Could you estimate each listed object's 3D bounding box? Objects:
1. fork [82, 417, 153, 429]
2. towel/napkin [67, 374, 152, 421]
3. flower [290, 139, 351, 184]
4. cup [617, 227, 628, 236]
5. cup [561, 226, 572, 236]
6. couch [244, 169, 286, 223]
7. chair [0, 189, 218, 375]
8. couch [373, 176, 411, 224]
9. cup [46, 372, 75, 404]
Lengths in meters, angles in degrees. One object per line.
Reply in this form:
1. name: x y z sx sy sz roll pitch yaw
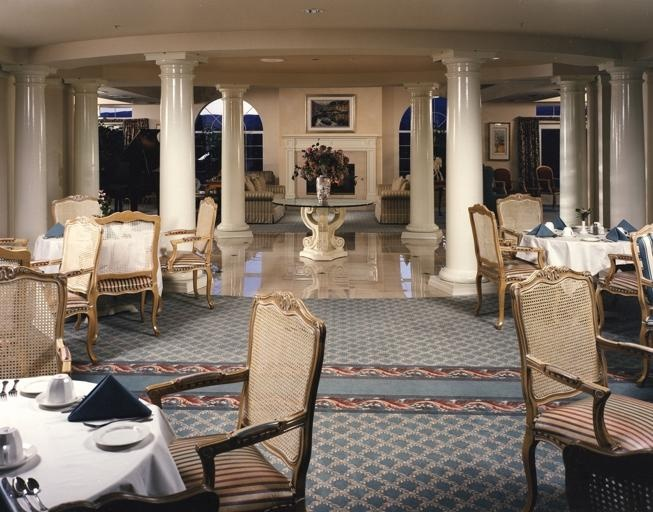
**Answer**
1. fork: -0.779 0.621 1.887 0.194 0.029 0.025 0 13 -10
2. towel/napkin: -0.810 0.561 1.923 0.226 0.076 0.209 1 3 -2
3. flower: -0.042 -1.779 9.917 0.859 0.719 0.415 1 11 7
4. cup: 3.208 -0.267 5.567 0.104 0.089 0.241 6 12 31
5. cup: 2.718 -0.283 5.807 0.122 0.100 0.115 -1 6 0
6. couch: -1.776 -1.981 15.529 1.169 1.230 3.037 -2 19 6
7. chair: -2.077 0.264 5.153 2.081 1.251 0.663 -8 16 -32
8. couch: 1.827 -1.490 14.094 0.869 1.219 1.196 1 11 6
9. cup: -1.063 0.543 2.094 0.110 0.088 0.106 1 6 0
